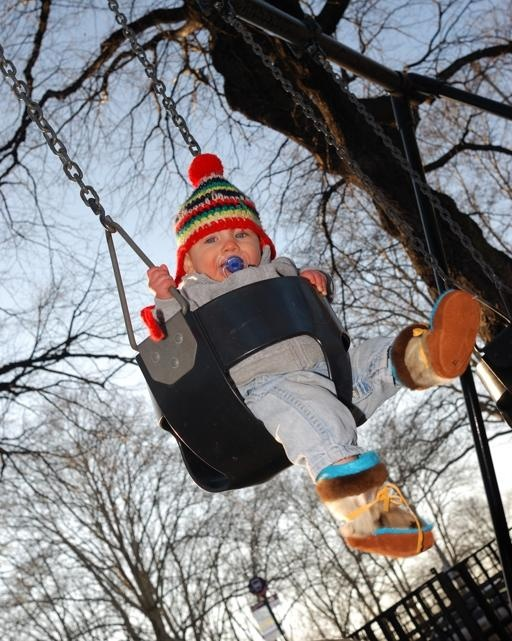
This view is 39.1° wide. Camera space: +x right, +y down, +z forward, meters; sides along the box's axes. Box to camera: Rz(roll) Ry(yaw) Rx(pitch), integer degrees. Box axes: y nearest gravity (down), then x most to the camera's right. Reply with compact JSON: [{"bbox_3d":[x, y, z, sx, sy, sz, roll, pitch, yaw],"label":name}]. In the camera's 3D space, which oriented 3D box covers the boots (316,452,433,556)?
[{"bbox_3d":[0.444,0.665,2.696,0.276,0.459,0.157,-23,-61,-42],"label":"boots"}]
